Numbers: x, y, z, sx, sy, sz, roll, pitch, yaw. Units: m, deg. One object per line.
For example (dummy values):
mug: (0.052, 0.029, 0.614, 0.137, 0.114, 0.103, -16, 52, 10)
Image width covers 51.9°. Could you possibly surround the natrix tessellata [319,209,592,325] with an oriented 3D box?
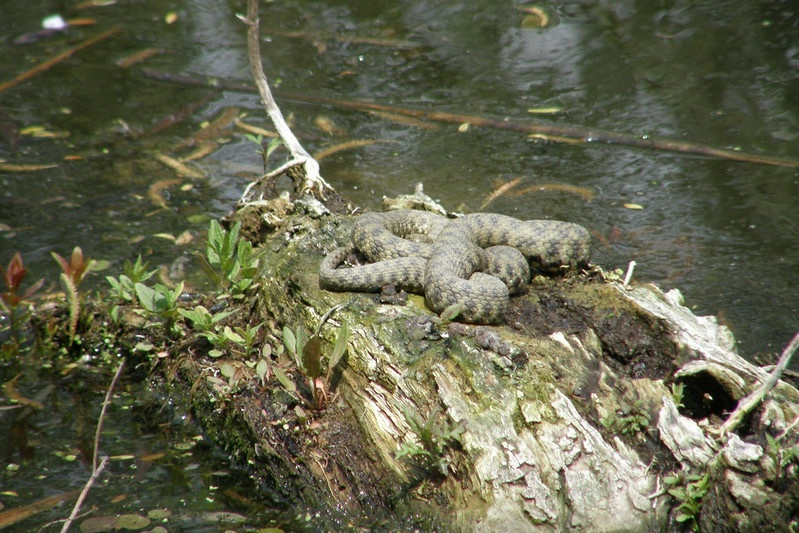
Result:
natrix tessellata: (0.640, -0.091, 9.046, 2.499, 0.541, 1.907, 19, 50, 15)
